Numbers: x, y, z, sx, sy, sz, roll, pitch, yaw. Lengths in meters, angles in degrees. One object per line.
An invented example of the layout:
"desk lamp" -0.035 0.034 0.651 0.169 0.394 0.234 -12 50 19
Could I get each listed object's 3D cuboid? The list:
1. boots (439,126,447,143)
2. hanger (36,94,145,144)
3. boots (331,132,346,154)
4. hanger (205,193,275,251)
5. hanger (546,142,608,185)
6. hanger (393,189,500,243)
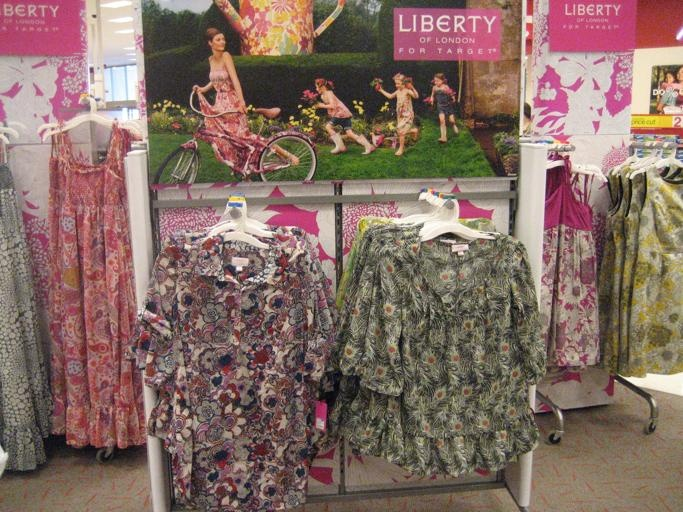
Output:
"boots" 0.545 -0.649 4.270 0.045 0.094 0.065 0 6 0
"hanger" -1.556 -0.834 4.889 0.733 0.403 0.041 -3 26 1
"boots" -0.015 -0.591 4.222 0.099 0.133 0.059 -2 10 1
"hanger" -0.498 -0.144 3.979 0.361 0.263 0.237 3 19 -1
"hanger" 1.429 -0.565 4.835 0.342 0.158 0.289 13 12 -1
"hanger" 0.505 -0.202 4.133 0.273 0.163 0.409 -4 15 -11
